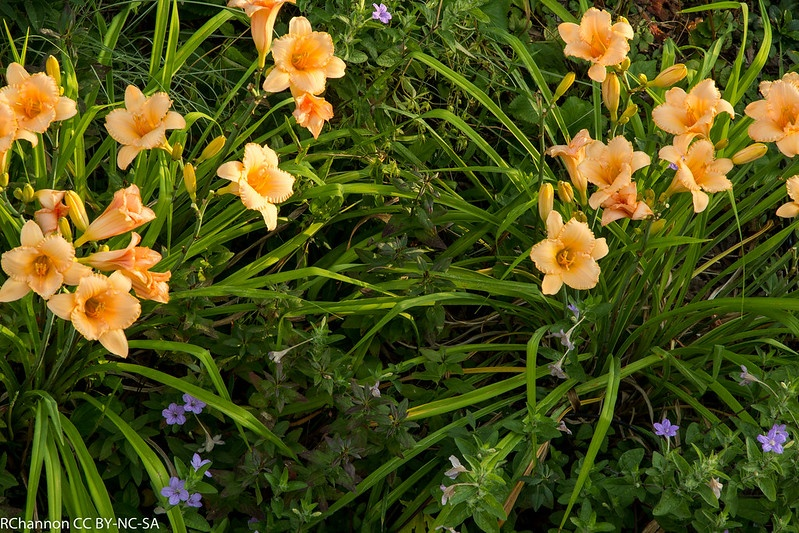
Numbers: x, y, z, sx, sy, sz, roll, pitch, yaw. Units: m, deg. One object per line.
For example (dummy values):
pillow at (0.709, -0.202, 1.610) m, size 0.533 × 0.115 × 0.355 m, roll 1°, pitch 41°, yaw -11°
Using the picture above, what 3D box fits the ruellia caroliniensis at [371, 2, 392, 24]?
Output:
ruellia caroliniensis at (-0.095, -1.308, 3.105) m, size 0.100 × 0.063 × 0.130 m, roll 16°, pitch 52°, yaw -13°

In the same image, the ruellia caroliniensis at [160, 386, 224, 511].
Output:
ruellia caroliniensis at (-0.916, 0.832, 2.587) m, size 0.281 × 0.153 × 0.552 m, roll 17°, pitch 60°, yaw -34°

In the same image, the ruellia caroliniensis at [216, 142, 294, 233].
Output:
ruellia caroliniensis at (-0.594, -0.339, 2.505) m, size 0.279 × 0.270 × 0.322 m, roll 24°, pitch 50°, yaw -5°

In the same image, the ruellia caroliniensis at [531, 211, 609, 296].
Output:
ruellia caroliniensis at (0.723, -0.062, 2.588) m, size 0.236 × 0.264 × 0.134 m, roll 32°, pitch 62°, yaw -27°

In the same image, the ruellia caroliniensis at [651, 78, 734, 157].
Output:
ruellia caroliniensis at (1.311, -0.617, 2.687) m, size 0.310 × 0.213 × 0.302 m, roll -45°, pitch 47°, yaw -8°

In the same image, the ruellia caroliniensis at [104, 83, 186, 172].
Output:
ruellia caroliniensis at (-1.017, -0.558, 2.482) m, size 0.330 × 0.211 × 0.350 m, roll 3°, pitch 93°, yaw 8°
